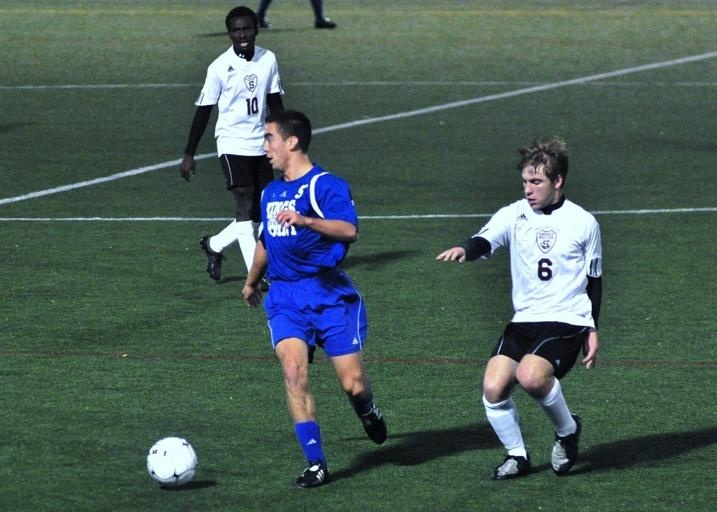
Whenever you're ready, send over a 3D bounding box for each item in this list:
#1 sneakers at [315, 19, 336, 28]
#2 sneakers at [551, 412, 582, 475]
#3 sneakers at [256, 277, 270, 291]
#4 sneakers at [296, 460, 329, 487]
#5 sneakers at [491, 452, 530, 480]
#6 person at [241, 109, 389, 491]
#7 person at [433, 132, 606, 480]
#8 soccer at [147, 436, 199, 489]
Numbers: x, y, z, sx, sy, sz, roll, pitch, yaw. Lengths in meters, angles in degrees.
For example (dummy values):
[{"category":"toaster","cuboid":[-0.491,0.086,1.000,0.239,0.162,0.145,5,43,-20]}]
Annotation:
[{"category":"sneakers","cuboid":[-0.681,-4.614,24.892,0.438,0.162,0.169,-4,20,-7]},{"category":"sneakers","cuboid":[1.461,1.389,9.119,0.177,0.456,0.231,17,15,30]},{"category":"sneakers","cuboid":[-0.936,0.287,12.317,0.136,0.149,0.378,0,-5,-4]},{"category":"sneakers","cuboid":[-0.317,1.565,8.949,0.146,0.116,0.250,0,2,39]},{"category":"sneakers","cuboid":[1.099,1.528,8.999,0.300,0.110,0.136,-2,10,-14]},{"category":"person","cuboid":[-0.351,0.278,9.116,0.822,2.639,0.896,-10,14,-30]},{"category":"person","cuboid":[1.246,0.384,9.027,1.011,2.399,0.621,-3,12,-1]},{"category":"soccer","cuboid":[-1.316,1.456,8.826,0.376,0.323,0.348,0,0,-13]}]
